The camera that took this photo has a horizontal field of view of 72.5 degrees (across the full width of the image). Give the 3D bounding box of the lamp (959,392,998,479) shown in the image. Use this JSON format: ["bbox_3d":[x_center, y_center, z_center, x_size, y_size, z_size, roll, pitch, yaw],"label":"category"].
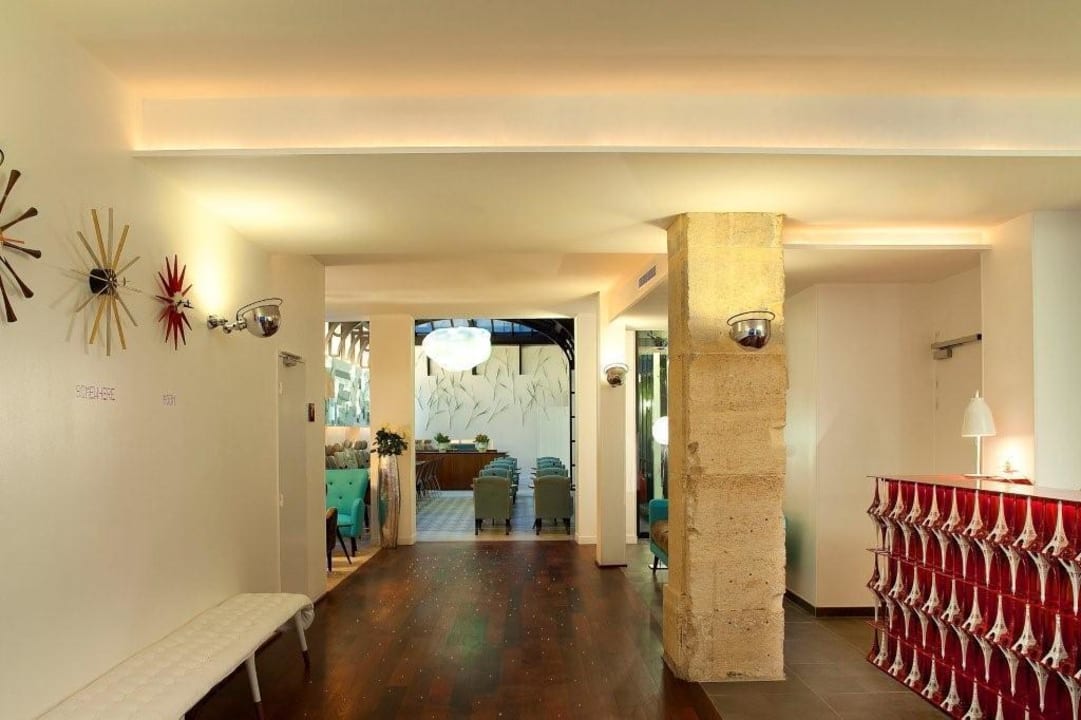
[{"bbox_3d":[3.646,0.629,6.116,0.219,0.658,1.003,0,0,31],"label":"lamp"}]

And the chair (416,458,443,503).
[{"bbox_3d":[-2.477,2.597,15.919,0.627,0.939,0.742,-1,-4,8],"label":"chair"}]

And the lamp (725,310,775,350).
[{"bbox_3d":[1.679,-0.241,5.933,0.305,0.223,0.314,1,-11,3],"label":"lamp"}]

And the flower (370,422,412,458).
[{"bbox_3d":[-2.182,1.159,10.588,0.442,0.312,0.455,6,4,31],"label":"flower"}]

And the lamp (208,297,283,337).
[{"bbox_3d":[-2.361,-0.343,5.977,0.549,0.272,0.314,-3,-6,26],"label":"lamp"}]

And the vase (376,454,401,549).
[{"bbox_3d":[-2.181,2.008,10.527,0.253,1.287,0.202,0,1,-19],"label":"vase"}]
